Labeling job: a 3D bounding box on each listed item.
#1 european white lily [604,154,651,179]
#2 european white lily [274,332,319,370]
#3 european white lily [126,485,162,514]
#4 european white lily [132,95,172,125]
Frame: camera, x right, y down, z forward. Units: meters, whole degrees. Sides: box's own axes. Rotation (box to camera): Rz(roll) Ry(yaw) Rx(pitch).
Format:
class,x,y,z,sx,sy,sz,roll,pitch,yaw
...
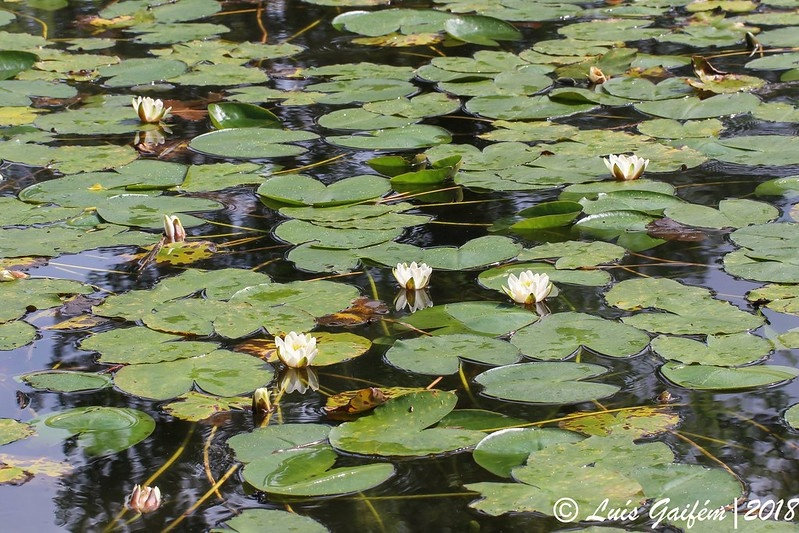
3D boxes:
class,x,y,z,sx,sy,sz,roll,pitch,yaw
european white lily,1.333,-0.584,4.772,0.290,0.062,0.241,-2,-2,27
european white lily,-0.447,0.366,3.640,0.274,0.077,0.178,7,40,0
european white lily,-0.979,0.875,3.109,0.137,0.100,0.111,-8,17,-8
european white lily,-1.739,-1.103,5.758,0.255,0.178,0.345,-9,14,-11
